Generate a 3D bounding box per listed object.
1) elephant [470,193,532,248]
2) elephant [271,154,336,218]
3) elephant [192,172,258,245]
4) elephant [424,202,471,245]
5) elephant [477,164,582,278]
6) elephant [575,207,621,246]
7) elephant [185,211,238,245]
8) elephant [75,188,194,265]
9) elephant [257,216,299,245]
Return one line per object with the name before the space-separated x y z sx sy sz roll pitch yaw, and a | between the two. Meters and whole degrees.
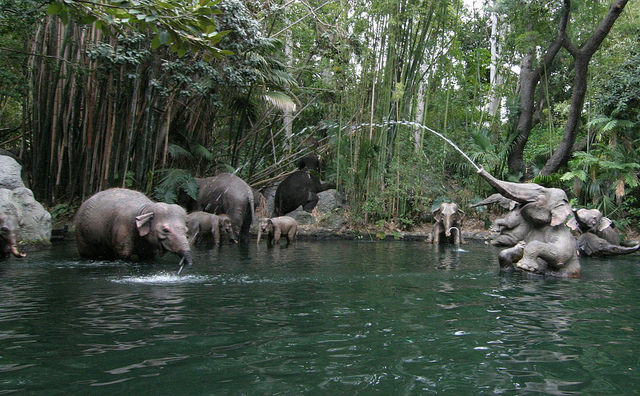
elephant | 5.333 0.500 14.293 1.796 1.584 0.979 8 11 14
elephant | -0.464 -0.464 16.528 1.283 1.257 2.422 12 41 36
elephant | -3.114 0.291 15.448 3.424 2.021 1.629 0 -1 38
elephant | 3.693 0.771 15.091 1.005 0.731 1.359 -1 -10 11
elephant | 4.036 0.572 9.506 1.473 2.055 0.842 2 0 22
elephant | 6.522 0.681 12.140 0.837 0.937 1.279 2 0 30
elephant | -2.926 0.798 14.166 1.530 0.777 0.502 -1 5 7
elephant | -3.705 0.533 10.293 2.616 1.284 0.723 1 0 27
elephant | -1.228 0.906 14.161 1.445 0.690 0.567 2 -6 -40
